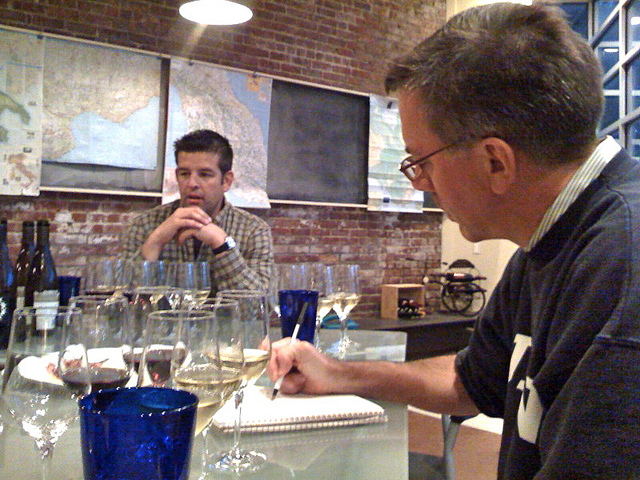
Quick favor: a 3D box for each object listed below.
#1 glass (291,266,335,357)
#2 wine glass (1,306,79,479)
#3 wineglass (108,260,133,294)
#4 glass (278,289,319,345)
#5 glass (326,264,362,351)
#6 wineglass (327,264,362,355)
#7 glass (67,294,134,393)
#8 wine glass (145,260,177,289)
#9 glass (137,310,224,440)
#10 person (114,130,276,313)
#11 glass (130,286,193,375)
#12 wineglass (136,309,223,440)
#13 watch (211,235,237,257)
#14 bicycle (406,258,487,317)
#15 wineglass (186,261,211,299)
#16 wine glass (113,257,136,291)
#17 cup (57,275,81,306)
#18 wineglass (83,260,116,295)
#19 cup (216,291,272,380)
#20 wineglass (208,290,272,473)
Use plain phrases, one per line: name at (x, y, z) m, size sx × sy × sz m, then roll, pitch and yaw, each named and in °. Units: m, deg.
glass at (-0.030, 0.203, 1.568) m, size 0.108 × 0.253 × 0.114 m, roll 1°, pitch 6°, yaw -11°
wine glass at (-0.393, 0.208, 0.744) m, size 0.089 × 0.220 × 0.099 m, roll 4°, pitch 4°, yaw -37°
wineglass at (-0.486, 0.092, 1.332) m, size 0.074 × 0.080 × 0.072 m, roll 2°, pitch -19°, yaw -20°
glass at (-0.064, 0.189, 1.375) m, size 0.085 × 0.142 × 0.090 m, roll 5°, pitch 1°, yaw -13°
glass at (0.069, 0.207, 1.668) m, size 0.101 × 0.251 × 0.103 m, roll 1°, pitch 7°, yaw -22°
wineglass at (0.078, 0.214, 1.657) m, size 0.099 × 0.252 × 0.100 m, roll 1°, pitch 7°, yaw -21°
glass at (-0.374, 0.166, 0.843) m, size 0.123 × 0.168 × 0.109 m, roll 5°, pitch -17°, yaw -25°
wine glass at (-0.376, 0.081, 1.268) m, size 0.075 × 0.078 × 0.072 m, roll 0°, pitch -8°, yaw -17°
glass at (-0.188, 0.157, 0.745) m, size 0.091 × 0.197 × 0.103 m, roll 1°, pitch 4°, yaw -34°
person at (-0.610, 0.106, 2.595) m, size 0.747 × 1.130 × 0.687 m, roll 4°, pitch -5°, yaw -26°
glass at (-0.305, 0.165, 0.989) m, size 0.111 × 0.158 × 0.099 m, roll -3°, pitch 8°, yaw -39°
wineglass at (-0.190, 0.154, 0.743) m, size 0.093 × 0.201 × 0.105 m, roll 1°, pitch 3°, yaw -33°
watch at (-0.428, 0.027, 2.335) m, size 0.067 × 0.049 × 0.074 m, roll -36°, pitch -10°, yaw 9°
bicycle at (1.160, 0.450, 4.900) m, size 0.792 × 0.510 × 0.411 m, roll 1°, pitch -5°, yaw 6°
wineglass at (-0.295, 0.099, 1.377) m, size 0.089 × 0.088 × 0.085 m, roll -1°, pitch -5°, yaw -10°
wine glass at (-0.497, 0.080, 1.331) m, size 0.049 × 0.065 × 0.204 m, roll 5°, pitch 4°, yaw -22°
cup at (-0.698, 0.147, 1.499) m, size 0.059 × 0.087 × 0.057 m, roll 3°, pitch -17°, yaw 1°
wineglass at (-0.518, 0.103, 1.346) m, size 0.098 × 0.104 × 0.095 m, roll 6°, pitch -10°, yaw -38°
cup at (-0.155, 0.175, 0.994) m, size 0.122 × 0.163 × 0.115 m, roll 6°, pitch -11°, yaw 1°
wineglass at (-0.144, 0.243, 0.928) m, size 0.084 × 0.263 × 0.103 m, roll 1°, pitch 3°, yaw -10°
